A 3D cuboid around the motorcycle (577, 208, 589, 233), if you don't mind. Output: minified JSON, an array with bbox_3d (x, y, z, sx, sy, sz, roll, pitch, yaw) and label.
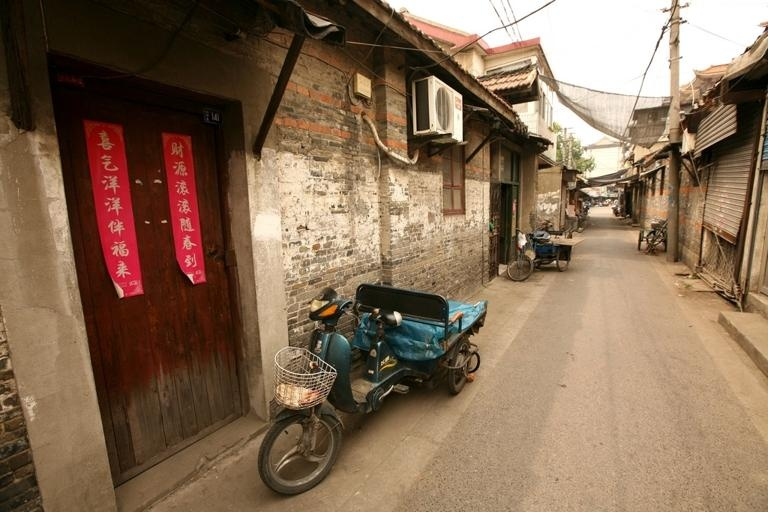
[{"bbox_3d":[10.216,-1.936,28.070,0.332,0.737,10.547,-2,5,22],"label":"motorcycle"}]

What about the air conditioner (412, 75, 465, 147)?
[{"bbox_3d":[0.817,-2.228,8.429,0.396,0.925,0.800,1,8,43],"label":"air conditioner"}]

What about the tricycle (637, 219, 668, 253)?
[{"bbox_3d":[7.821,-0.562,15.856,0.873,0.917,1.648,11,15,38],"label":"tricycle"}]
